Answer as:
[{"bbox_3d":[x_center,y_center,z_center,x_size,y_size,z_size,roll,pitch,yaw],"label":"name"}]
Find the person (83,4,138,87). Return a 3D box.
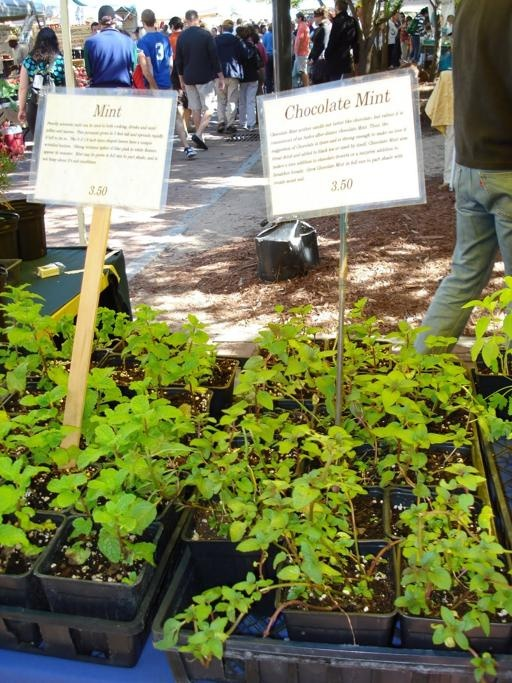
[{"bbox_3d":[-1.604,-3.213,6.106,0.555,0.961,0.663,-7,14,-13],"label":"person"}]

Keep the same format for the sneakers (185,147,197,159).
[{"bbox_3d":[-1.047,-3.015,8.979,0.145,0.129,0.294,-29,18,6],"label":"sneakers"}]

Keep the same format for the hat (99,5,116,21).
[{"bbox_3d":[-1.674,-3.659,6.256,0.161,0.146,0.245,-7,47,-2],"label":"hat"}]
